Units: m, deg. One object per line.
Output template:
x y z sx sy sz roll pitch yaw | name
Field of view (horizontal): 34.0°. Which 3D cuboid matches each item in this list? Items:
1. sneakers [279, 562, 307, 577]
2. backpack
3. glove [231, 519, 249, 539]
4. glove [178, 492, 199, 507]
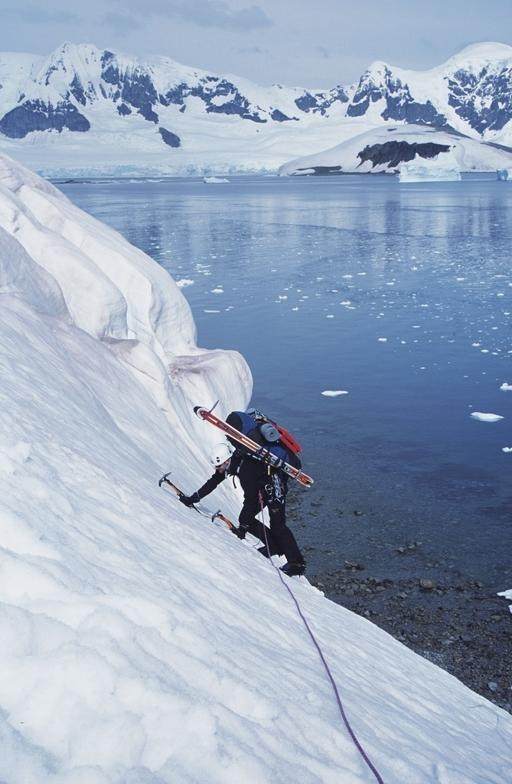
0.366 1.720 8.120 0.155 0.091 0.203 5 -8 -41 | sneakers
0.131 0.402 7.429 0.671 0.247 0.457 37 -3 -12 | backpack
-0.149 1.331 8.151 0.171 0.161 0.064 33 51 0 | glove
-0.590 0.961 7.451 0.156 0.054 0.154 10 -15 40 | glove
